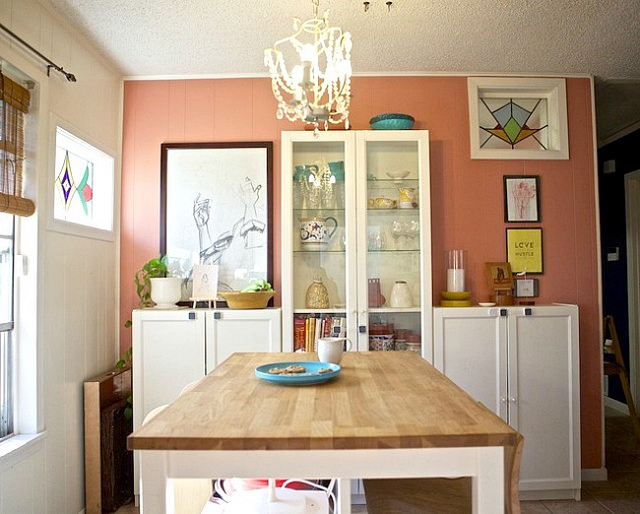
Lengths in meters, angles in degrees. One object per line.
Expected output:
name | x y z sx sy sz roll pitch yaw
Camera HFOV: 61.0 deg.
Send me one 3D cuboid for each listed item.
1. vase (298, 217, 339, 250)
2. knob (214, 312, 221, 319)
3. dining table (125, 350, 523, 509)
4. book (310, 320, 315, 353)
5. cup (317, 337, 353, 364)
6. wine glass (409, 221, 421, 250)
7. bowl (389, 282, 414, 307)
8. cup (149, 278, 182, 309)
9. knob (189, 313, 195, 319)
vase | -0.034 -0.176 3.885 0.309 0.302 0.182 0 -1 -3
knob | -0.732 0.418 3.867 0.041 0.042 0.040 1 -3 -40
dining table | 0.033 0.679 2.246 1.376 0.487 0.791 -2 -2 0
book | -0.060 0.572 3.981 0.037 0.216 0.013 -2 -2 0
cup | 0.059 0.456 2.680 0.189 0.136 0.126 1 -4 -8
wine glass | 0.695 -0.161 4.019 0.083 0.214 0.031 -2 -2 9
bowl | 0.588 0.280 3.982 0.157 0.165 0.168 0 -4 0
cup | -1.133 0.262 3.949 0.208 0.171 0.210 0 -3 0
knob | -0.912 0.418 3.853 0.037 0.035 0.009 1 1 -4
